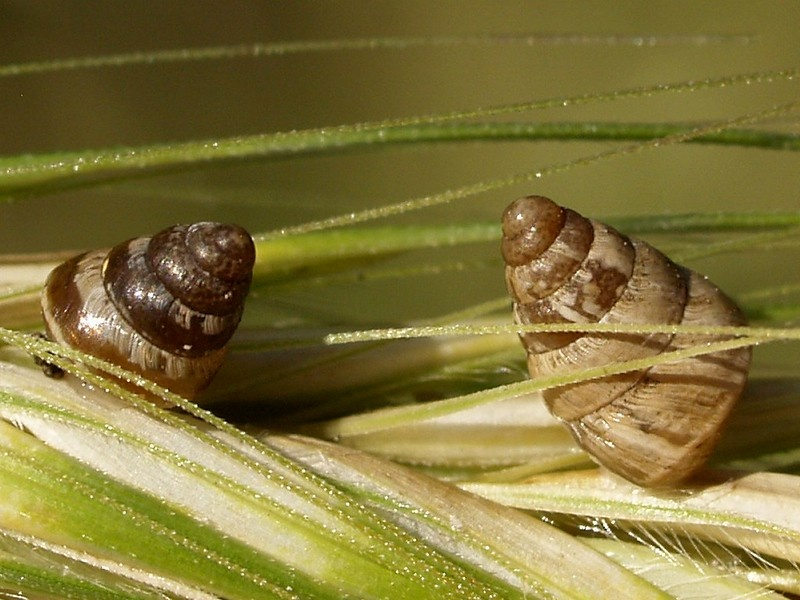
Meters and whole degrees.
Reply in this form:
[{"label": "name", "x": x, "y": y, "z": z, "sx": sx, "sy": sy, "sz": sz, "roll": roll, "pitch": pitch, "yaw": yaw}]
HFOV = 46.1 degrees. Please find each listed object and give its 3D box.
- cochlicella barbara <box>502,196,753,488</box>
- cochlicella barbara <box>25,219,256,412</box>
[{"label": "cochlicella barbara", "x": 0.245, "y": 0.038, "z": 1.021, "sx": 0.297, "sy": 0.308, "sz": 0.133, "roll": 0, "pitch": 6, "yaw": 1}, {"label": "cochlicella barbara", "x": -0.293, "y": 0.018, "z": 1.067, "sx": 0.234, "sy": 0.198, "sz": 0.110, "roll": 6, "pitch": 22, "yaw": 21}]
